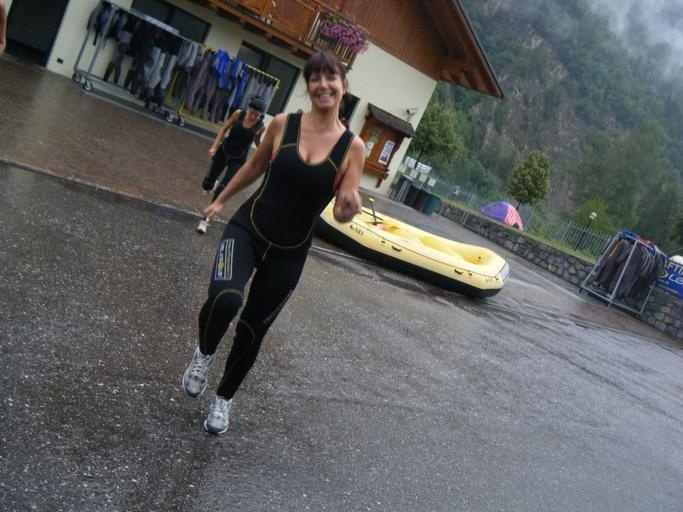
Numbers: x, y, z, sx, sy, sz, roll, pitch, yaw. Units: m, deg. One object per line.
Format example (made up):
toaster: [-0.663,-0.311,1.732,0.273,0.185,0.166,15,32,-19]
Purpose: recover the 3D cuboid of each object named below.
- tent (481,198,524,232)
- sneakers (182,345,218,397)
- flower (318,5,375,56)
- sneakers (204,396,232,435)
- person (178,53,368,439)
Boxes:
tent: [9.512,-2.105,28.100,1.608,0.972,1.853,10,12,-35]
sneakers: [-0.956,0.697,3.398,0.148,0.173,0.465,20,45,-20]
flower: [0.056,-8.712,18.987,1.696,0.938,1.308,44,4,19]
sneakers: [-0.832,1.039,3.338,0.121,0.124,0.297,17,21,-16]
person: [-0.456,-0.041,3.186,0.753,2.517,0.607,16,13,-17]
